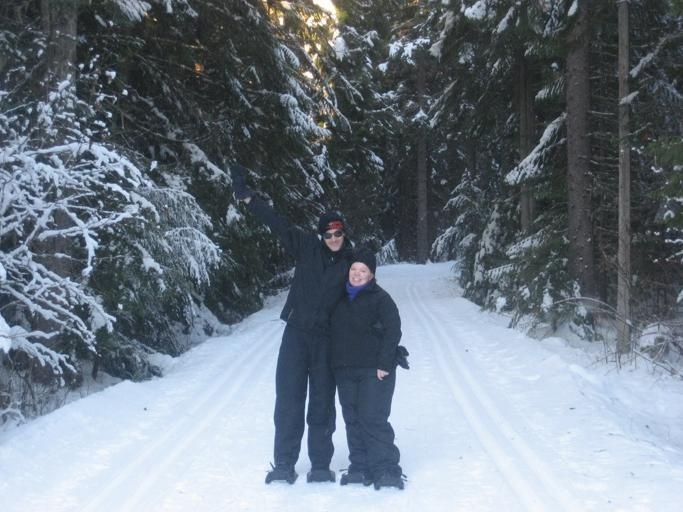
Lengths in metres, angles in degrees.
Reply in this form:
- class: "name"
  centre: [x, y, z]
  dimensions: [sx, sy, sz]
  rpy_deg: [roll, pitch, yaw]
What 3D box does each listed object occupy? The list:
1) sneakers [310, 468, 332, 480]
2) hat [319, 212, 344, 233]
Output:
- class: "sneakers"
  centre: [-0.275, 2.843, 9.988]
  dimensions: [0.337, 0.182, 0.059]
  rpy_deg: [-5, -3, -3]
- class: "hat"
  centre: [-0.151, -0.442, 10.197]
  dimensions: [0.228, 0.260, 0.305]
  rpy_deg: [-17, -6, -39]
